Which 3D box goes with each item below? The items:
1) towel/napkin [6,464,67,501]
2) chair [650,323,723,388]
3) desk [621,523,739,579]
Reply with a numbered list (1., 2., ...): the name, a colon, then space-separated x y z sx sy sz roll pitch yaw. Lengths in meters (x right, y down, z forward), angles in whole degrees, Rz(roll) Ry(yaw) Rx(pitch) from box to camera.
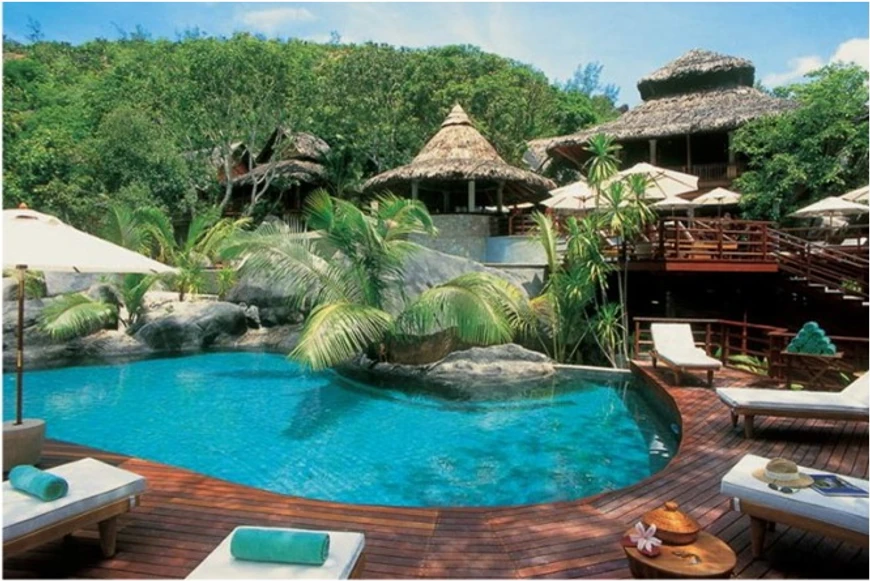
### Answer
1. towel/napkin: -4.628 2.220 6.986 0.750 0.273 0.224 -2 2 19
2. chair: 4.926 1.259 11.901 1.040 1.118 1.527 -2 2 11
3. desk: 2.678 2.899 6.529 1.109 0.361 0.380 -3 2 -4
